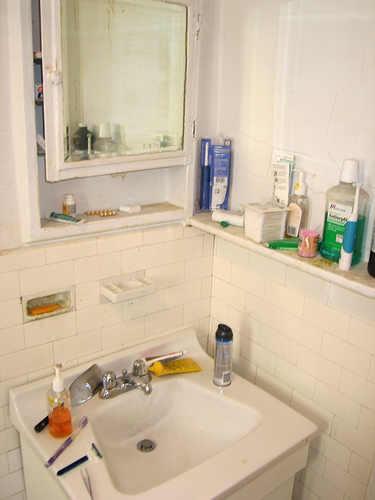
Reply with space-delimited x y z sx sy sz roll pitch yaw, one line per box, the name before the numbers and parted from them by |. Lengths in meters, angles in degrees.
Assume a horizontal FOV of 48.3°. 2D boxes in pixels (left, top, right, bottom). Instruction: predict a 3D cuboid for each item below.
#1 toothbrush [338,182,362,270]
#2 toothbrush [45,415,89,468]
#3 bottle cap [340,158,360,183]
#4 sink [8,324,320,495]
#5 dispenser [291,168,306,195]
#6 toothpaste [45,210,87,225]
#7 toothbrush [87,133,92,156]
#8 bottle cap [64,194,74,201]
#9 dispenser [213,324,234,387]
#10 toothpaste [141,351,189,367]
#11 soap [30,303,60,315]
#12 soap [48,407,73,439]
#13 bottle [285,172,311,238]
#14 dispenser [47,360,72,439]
toothbrush | 0.377 -0.058 0.957 0.029 0.191 0.028 14 30 28
toothbrush | -0.315 0.498 1.093 0.029 0.018 0.168 10 16 15
bottle cap | 0.374 -0.183 0.966 0.039 0.054 0.025 0 10 17
sink | -0.064 0.515 1.221 0.678 0.295 0.592 -11 12 -39
dispenser | 0.302 -0.184 1.134 0.026 0.068 0.064 -3 10 -2
toothpaste | -0.356 -0.092 1.192 0.090 0.024 0.047 14 40 8
toothbrush | -0.259 -0.276 1.096 0.012 0.057 0.010 -11 13 -41
bottle cap | -0.342 -0.149 1.194 0.018 0.017 0.018 3 7 19
dispenser | 0.113 0.341 1.395 0.075 0.191 0.086 14 16 41
toothpaste | -0.085 0.380 1.446 0.146 0.025 0.036 -9 25 -33
soap | -0.427 0.176 1.242 0.084 0.012 0.024 -11 44 -38
soap | -0.338 0.451 1.111 0.051 0.087 0.049 -2 0 -36
bottle | 0.298 -0.121 1.148 0.071 0.179 0.062 0 10 21
dispenser | -0.329 0.402 1.144 0.096 0.173 0.098 -17 36 -34
